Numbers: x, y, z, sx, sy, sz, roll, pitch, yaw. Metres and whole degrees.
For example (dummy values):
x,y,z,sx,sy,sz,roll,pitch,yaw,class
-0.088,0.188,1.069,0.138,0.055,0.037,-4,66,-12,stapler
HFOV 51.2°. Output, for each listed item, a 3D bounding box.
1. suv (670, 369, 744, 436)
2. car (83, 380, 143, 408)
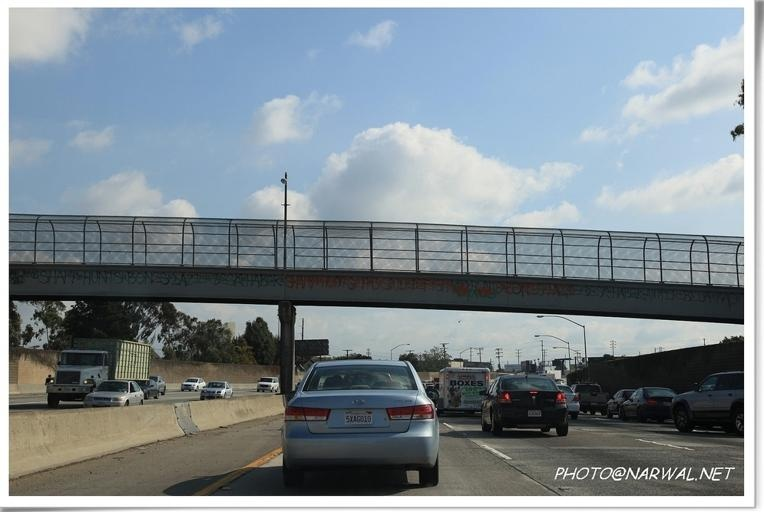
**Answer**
x,y,z,sx,sy,sz,roll,pitch,yaw,class
12.304,5.415,29.266,0.781,2.205,3.012,3,-9,-17,suv
-15.557,7.581,43.755,2.369,1.399,3.077,-3,-9,20,car
